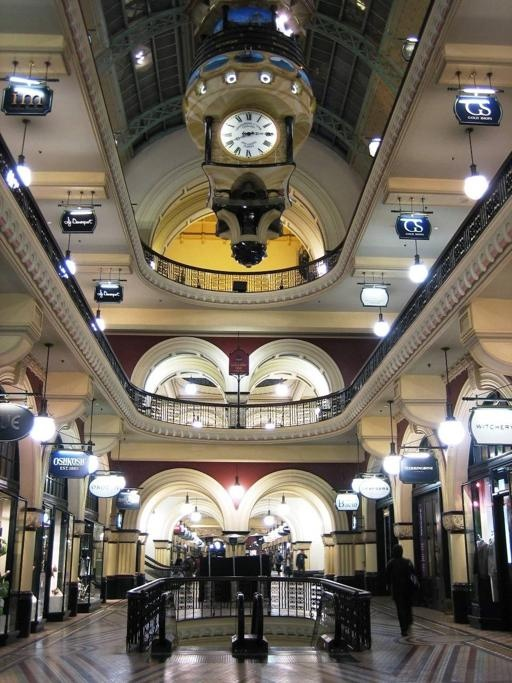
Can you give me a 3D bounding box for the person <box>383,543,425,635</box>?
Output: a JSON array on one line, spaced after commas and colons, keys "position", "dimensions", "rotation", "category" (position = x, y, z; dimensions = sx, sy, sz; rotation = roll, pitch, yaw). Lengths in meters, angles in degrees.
[{"position": [2.163, 3.703, 7.837], "dimensions": [0.413, 1.264, 1.119], "rotation": [-6, -20, 13], "category": "person"}]
